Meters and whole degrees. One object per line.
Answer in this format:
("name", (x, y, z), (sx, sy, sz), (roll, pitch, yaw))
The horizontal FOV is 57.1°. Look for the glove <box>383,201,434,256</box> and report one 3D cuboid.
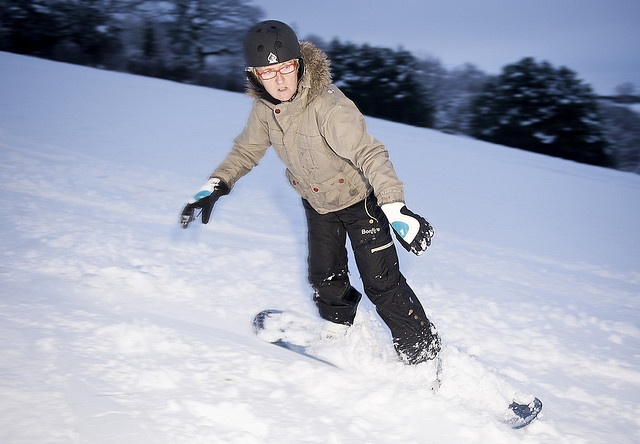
("glove", (0.618, 0.046, 4.283), (0.459, 0.254, 0.160), (39, -3, 3))
